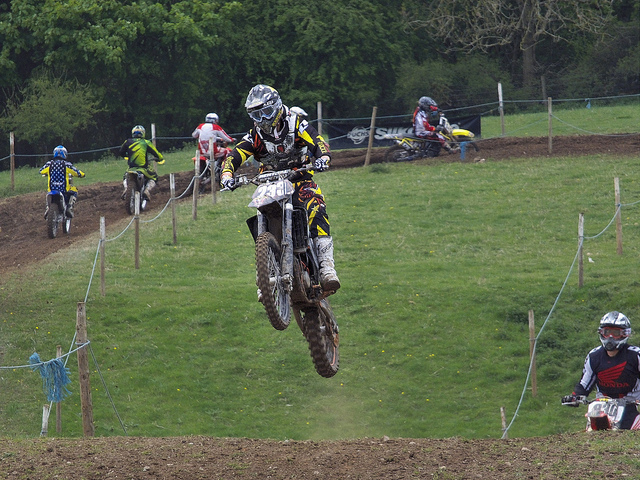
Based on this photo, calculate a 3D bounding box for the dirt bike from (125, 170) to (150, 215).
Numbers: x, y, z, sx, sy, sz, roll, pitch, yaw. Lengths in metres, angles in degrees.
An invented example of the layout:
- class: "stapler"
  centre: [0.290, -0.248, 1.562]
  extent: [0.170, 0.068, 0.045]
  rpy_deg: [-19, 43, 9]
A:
- class: "dirt bike"
  centre: [-7.013, -1.897, 65.492]
  extent: [0.693, 1.675, 1.254]
  rpy_deg: [-1, 6, 15]

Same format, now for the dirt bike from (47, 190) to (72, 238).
- class: "dirt bike"
  centre: [-9.653, -1.029, 63.328]
  extent: [0.780, 1.771, 0.357]
  rpy_deg: [-6, 7, -31]

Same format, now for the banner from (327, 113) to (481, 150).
- class: "banner"
  centre: [3.331, -4.501, 70.780]
  extent: [7.429, 1.299, 0.064]
  rpy_deg: [0, -6, 34]

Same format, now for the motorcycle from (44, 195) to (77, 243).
- class: "motorcycle"
  centre: [-9.694, -0.910, 63.831]
  extent: [1.176, 1.741, 1.472]
  rpy_deg: [-3, 6, -3]

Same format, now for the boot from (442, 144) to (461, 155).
- class: "boot"
  centre: [5.330, -3.698, 69.654]
  extent: [0.815, 0.257, 0.544]
  rpy_deg: [-15, -34, 10]
